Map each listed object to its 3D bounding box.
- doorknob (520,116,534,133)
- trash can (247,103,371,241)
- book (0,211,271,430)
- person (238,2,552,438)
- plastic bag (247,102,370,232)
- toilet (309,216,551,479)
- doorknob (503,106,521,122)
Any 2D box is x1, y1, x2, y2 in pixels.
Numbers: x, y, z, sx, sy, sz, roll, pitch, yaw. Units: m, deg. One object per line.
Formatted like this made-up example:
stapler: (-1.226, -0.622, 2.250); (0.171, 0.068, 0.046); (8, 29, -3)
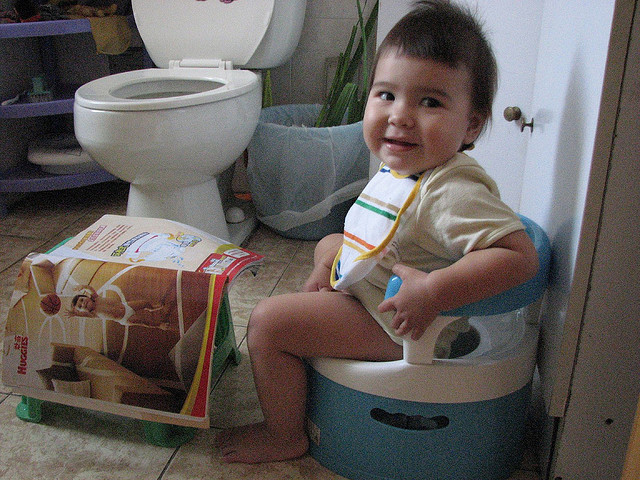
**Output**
doorknob: (0.367, -0.206, 0.961); (0.022, 0.036, 0.035); (6, 13, 10)
trash can: (-0.035, -0.215, 1.785); (0.359, 0.408, 0.397); (2, 20, -1)
book: (-0.359, 0.153, 1.071); (0.448, 0.317, 0.272); (7, 23, 11)
person: (0.157, -0.113, 1.241); (0.610, 0.946, 0.678); (4, 18, 13)
plastic bag: (-0.015, -0.231, 1.806); (0.409, 0.415, 0.354); (5, 21, 10)
toilet: (0.149, 0.157, 1.065); (0.451, 0.446, 0.368); (5, 26, 10)
doorknob: (0.348, -0.228, 0.980); (0.020, 0.022, 0.026); (5, -2, -11)
